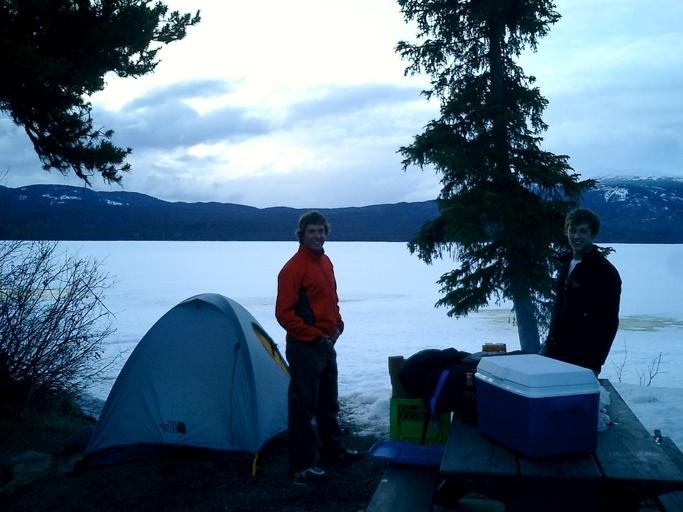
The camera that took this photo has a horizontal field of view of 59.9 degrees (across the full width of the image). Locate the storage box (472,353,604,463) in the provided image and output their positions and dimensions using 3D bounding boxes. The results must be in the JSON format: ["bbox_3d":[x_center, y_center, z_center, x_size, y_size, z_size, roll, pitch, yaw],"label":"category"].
[{"bbox_3d":[1.606,1.230,4.959,0.687,0.651,0.949,-1,0,-12],"label":"storage box"}]

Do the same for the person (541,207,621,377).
[{"bbox_3d":[2.391,0.383,5.968,0.761,1.689,0.809,-2,7,18],"label":"person"}]

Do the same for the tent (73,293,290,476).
[{"bbox_3d":[-2.114,1.555,8.236,2.440,1.693,1.936,0,-1,15],"label":"tent"}]

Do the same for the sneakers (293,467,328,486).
[{"bbox_3d":[-0.345,2.502,6.754,0.417,0.169,0.165,-8,-3,12],"label":"sneakers"}]

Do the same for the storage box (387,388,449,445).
[{"bbox_3d":[0.759,1.662,6.228,0.556,0.571,0.188,2,-1,16],"label":"storage box"}]

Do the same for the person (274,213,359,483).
[{"bbox_3d":[-0.318,1.064,6.987,0.757,3.147,0.951,-4,6,7],"label":"person"}]

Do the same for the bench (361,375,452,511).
[{"bbox_3d":[0.654,1.517,5.755,0.774,0.882,0.615,-6,-2,12],"label":"bench"}]

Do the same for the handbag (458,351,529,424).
[{"bbox_3d":[1.309,1.188,5.339,0.820,0.561,0.554,-1,2,-6],"label":"handbag"}]
